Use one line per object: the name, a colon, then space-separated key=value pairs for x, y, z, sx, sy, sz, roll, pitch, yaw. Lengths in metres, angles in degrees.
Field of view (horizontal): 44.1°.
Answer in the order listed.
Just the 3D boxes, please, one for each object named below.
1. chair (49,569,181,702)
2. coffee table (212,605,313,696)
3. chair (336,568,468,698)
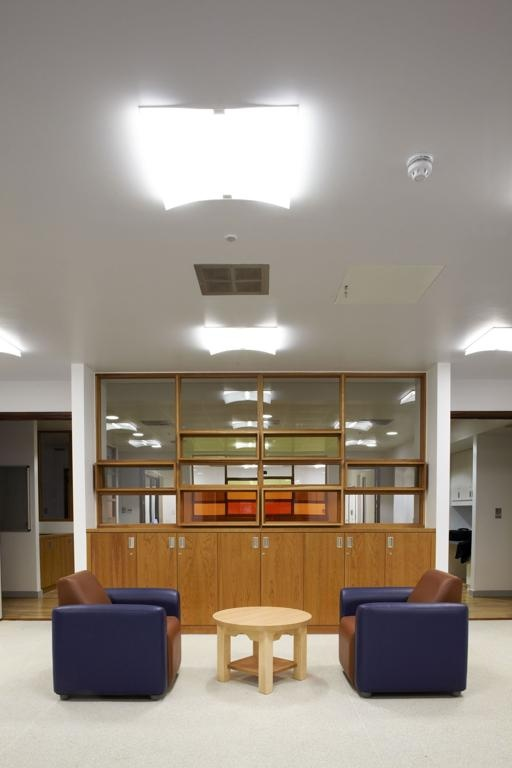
chair: x=-1.026 y=1.904 z=4.894 sx=0.850 sy=0.828 sz=1.184 roll=-2 pitch=-12 yaw=3
coffee table: x=0.045 y=2.039 z=4.890 sx=0.697 sy=0.464 sz=0.720 roll=3 pitch=-9 yaw=-15
chair: x=1.085 y=1.891 z=4.926 sx=0.777 sy=0.843 sz=1.110 roll=2 pitch=-12 yaw=3
